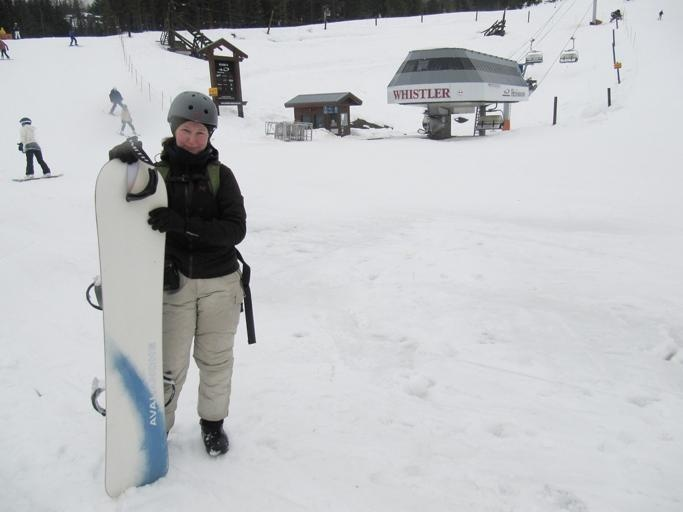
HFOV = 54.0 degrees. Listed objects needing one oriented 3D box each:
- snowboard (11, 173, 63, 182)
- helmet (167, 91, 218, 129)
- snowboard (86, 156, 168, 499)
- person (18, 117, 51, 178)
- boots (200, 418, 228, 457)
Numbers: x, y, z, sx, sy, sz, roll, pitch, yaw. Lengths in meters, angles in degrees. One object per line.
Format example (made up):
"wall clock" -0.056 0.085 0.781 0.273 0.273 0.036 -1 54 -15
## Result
"snowboard" -6.072 -1.589 13.586 0.283 0.142 0.978 10 16 36
"helmet" -1.251 -1.226 5.689 0.310 0.364 0.374 2 4 -28
"snowboard" -1.779 0.545 5.606 0.681 2.715 0.399 -4 6 -39
"person" -6.191 -2.182 13.480 0.513 1.241 1.195 -9 19 -24
"boots" -1.133 1.620 6.052 0.194 0.166 0.398 -13 23 -18
